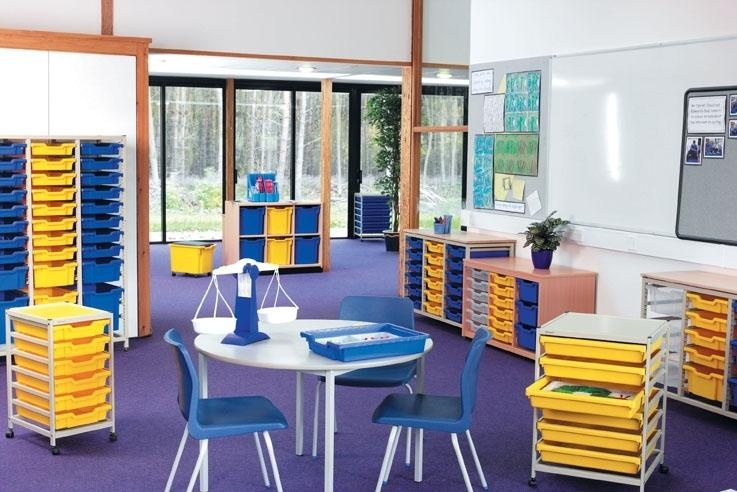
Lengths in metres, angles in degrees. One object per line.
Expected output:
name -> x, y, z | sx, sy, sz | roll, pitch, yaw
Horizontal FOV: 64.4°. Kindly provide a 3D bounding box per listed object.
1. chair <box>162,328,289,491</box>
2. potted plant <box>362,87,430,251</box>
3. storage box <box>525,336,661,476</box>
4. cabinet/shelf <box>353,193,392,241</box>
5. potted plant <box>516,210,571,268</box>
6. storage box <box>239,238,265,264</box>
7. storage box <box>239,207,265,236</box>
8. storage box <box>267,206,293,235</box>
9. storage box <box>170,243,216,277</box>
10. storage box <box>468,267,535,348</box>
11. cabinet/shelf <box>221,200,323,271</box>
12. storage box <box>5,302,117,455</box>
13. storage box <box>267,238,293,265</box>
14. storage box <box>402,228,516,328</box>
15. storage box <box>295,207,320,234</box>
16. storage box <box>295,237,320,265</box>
chair -> -0.861, 0.980, 3.378 | 0.651, 1.029, 0.702 | -4, 11, -20
potted plant -> 0.374, -1.813, 12.475 | 0.606, 3.003, 1.304 | -2, 11, -10
storage box -> 1.315, 0.910, 3.717 | 0.718, 0.795, 0.942 | 1, 0, 33
cabinet/shelf -> 0.273, -0.676, 13.052 | 0.803, 0.854, 0.621 | 0, 2, 11
potted plant -> 1.738, -0.047, 5.754 | 0.517, 0.605, 0.564 | -1, 4, -40
storage box -> -1.821, 0.078, 9.228 | 0.623, 0.405, 0.449 | -1, 7, -9
storage box -> -1.878, -0.375, 9.535 | 0.510, 0.466, 0.409 | 0, -1, -21
storage box -> -1.474, -0.448, 9.644 | 0.563, 0.486, 0.439 | -1, 9, -14
storage box -> -2.789, 0.225, 9.353 | 0.742, 0.489, 0.434 | 2, 2, 25
storage box -> 1.328, 0.597, 5.676 | 0.296, 0.568, 0.813 | -4, 11, -26
cabinet/shelf -> -1.626, -0.139, 9.777 | 1.580, 1.019, 0.884 | 0, 0, -37
storage box -> -2.144, 0.904, 4.021 | 0.802, 0.903, 0.467 | 2, 11, 9
storage box -> -1.458, 0.048, 9.627 | 0.538, 0.459, 0.418 | -2, 8, -20
storage box -> 1.196, 0.324, 6.772 | 0.695, 1.078, 1.631 | -16, 17, -40
storage box -> -1.015, -0.479, 9.759 | 0.592, 0.507, 0.410 | -1, 8, -14
storage box -> -1.027, 0.065, 9.837 | 0.618, 0.550, 0.407 | -1, 6, -8
